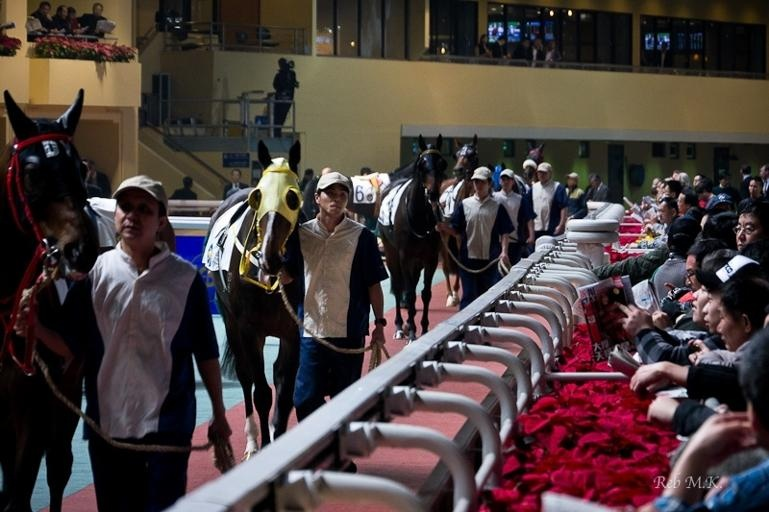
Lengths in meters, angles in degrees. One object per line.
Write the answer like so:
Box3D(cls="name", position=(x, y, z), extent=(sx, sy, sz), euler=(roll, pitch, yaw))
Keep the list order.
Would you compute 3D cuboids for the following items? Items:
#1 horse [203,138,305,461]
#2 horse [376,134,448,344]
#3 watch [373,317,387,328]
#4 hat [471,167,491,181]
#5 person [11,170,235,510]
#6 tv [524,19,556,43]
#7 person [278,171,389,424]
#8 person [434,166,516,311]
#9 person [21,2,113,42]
Box3D(cls="horse", position=(-0.959, 0.399, 6.131), extent=(0.706, 2.332, 2.823), euler=(-3, -2, -16))
Box3D(cls="horse", position=(0.362, -0.108, 10.046), extent=(0.678, 2.177, 2.903), euler=(-1, -3, -9))
Box3D(cls="watch", position=(-0.041, 0.437, 5.343), extent=(0.067, 0.044, 0.078), euler=(-3, -1, 10))
Box3D(cls="hat", position=(1.073, -0.919, 8.777), extent=(0.148, 0.143, 0.248), euler=(-2, -8, 22))
Box3D(cls="person", position=(-1.243, 0.412, 3.883), extent=(0.885, 1.577, 0.485), euler=(1, 9, 21))
Box3D(cls="tv", position=(5.116, -7.516, 26.564), extent=(0.829, 0.710, 0.123), euler=(0, -5, -9))
Box3D(cls="person", position=(-0.319, 0.241, 5.248), extent=(0.696, 1.560, 0.542), euler=(-3, 8, -8))
Box3D(cls="person", position=(1.022, -0.181, 8.717), extent=(0.746, 1.525, 0.702), euler=(-1, 8, 4))
Box3D(cls="person", position=(-6.925, -5.088, 17.364), extent=(0.531, 0.594, 1.551), euler=(-15, -3, 34))
